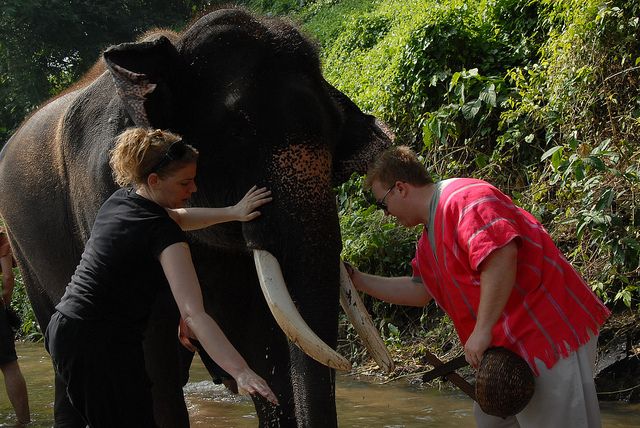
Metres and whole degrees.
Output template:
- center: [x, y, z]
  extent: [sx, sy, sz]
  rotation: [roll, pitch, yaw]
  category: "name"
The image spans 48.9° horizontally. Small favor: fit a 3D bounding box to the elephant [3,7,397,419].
- center: [-0.969, 0.084, 5.677]
  extent: [3.931, 3.059, 2.016]
  rotation: [-9, -11, 40]
  category: "elephant"
